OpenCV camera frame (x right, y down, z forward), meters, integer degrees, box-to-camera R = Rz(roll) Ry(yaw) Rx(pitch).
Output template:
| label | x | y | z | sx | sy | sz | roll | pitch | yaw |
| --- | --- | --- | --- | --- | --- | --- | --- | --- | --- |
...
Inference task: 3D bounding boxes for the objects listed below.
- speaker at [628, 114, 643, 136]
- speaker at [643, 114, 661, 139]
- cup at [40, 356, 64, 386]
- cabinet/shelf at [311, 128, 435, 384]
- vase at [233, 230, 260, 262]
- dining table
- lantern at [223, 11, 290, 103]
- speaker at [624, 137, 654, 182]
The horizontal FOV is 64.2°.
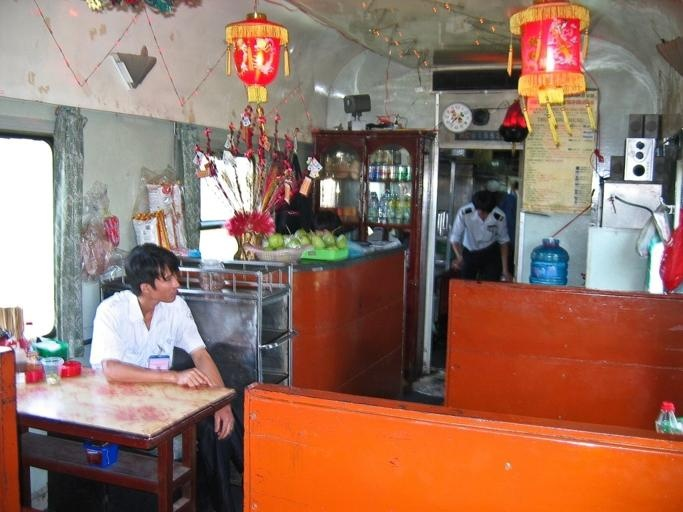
| label | x | y | z | sx | sy | sz | roll | pitch | yaw |
| --- | --- | --- | --- | --- | --- | --- | --- | --- | --- |
| speaker | 2.755 | -1.203 | 5.052 | 0.116 | 0.222 | 0.125 | 2 | 5 | 25 |
| speaker | 2.861 | -1.172 | 4.972 | 0.147 | 0.224 | 0.061 | 2 | 5 | 30 |
| cup | -1.584 | 0.637 | 2.984 | 0.117 | 0.122 | 0.125 | -6 | -7 | -1 |
| cabinet/shelf | 0.268 | -0.186 | 6.800 | 1.167 | 2.780 | 0.633 | 5 | 16 | 5 |
| vase | -0.774 | -0.084 | 4.283 | 0.194 | 0.230 | 0.209 | -1 | -2 | 37 |
| dining table | -1.074 | 0.798 | 2.693 | 1.161 | 0.603 | 0.677 | 2 | 3 | 29 |
| lantern | -0.545 | -1.287 | 3.506 | 0.389 | 0.592 | 0.223 | -1 | 5 | -7 |
| speaker | 2.713 | -0.868 | 4.912 | 0.251 | 0.400 | 0.158 | 2 | 5 | 25 |
